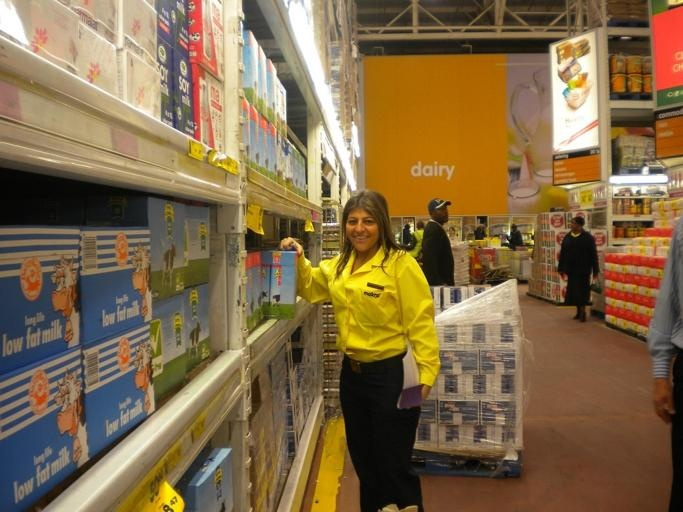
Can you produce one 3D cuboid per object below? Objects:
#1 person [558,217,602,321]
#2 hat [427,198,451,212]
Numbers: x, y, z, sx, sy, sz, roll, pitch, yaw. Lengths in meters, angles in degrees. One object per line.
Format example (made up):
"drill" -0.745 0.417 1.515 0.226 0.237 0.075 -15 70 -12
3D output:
"person" 3.785 0.189 7.828 0.589 1.653 0.731 -1 1 25
"hat" 1.027 -0.538 5.220 0.214 0.137 0.158 -13 4 38
